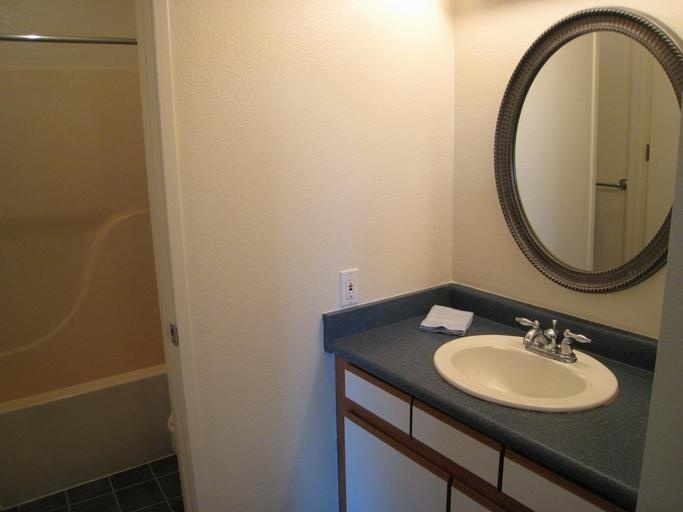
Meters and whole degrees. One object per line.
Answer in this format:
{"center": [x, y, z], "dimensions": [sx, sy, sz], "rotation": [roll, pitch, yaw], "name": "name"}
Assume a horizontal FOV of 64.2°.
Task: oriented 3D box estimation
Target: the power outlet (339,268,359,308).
{"center": [0.032, 0.123, 2.179], "dimensions": [0.090, 0.149, 0.023], "rotation": [-10, 18, -33], "name": "power outlet"}
